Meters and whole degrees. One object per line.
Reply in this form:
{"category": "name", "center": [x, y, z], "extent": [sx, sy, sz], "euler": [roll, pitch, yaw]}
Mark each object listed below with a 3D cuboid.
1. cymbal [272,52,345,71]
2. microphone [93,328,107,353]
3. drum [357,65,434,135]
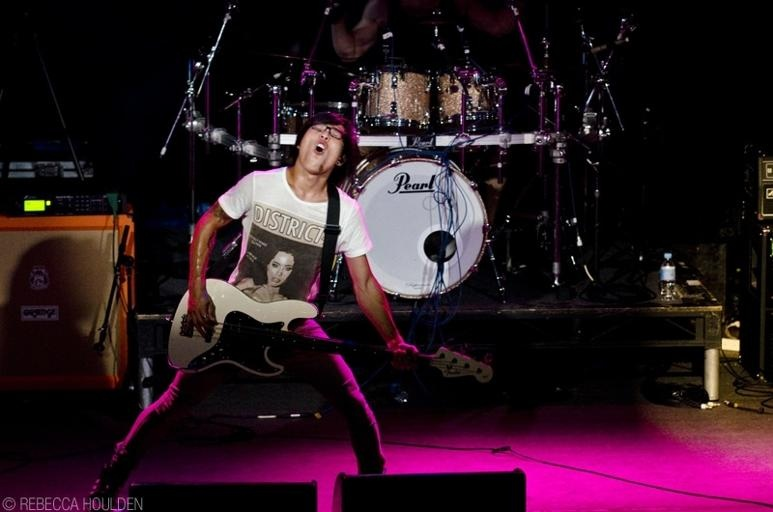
{"category": "cymbal", "center": [-0.760, -1.892, 6.693], "extent": [0.536, 0.112, 0.458], "euler": [5, 14, -12]}
{"category": "microphone", "center": [-2.306, 0.684, 5.564], "extent": [0.121, 0.217, 0.053], "euler": [11, 8, 3]}
{"category": "drum", "center": [0.082, -1.341, 5.888], "extent": [0.580, 0.384, 0.547], "euler": [2, -1, 0]}
